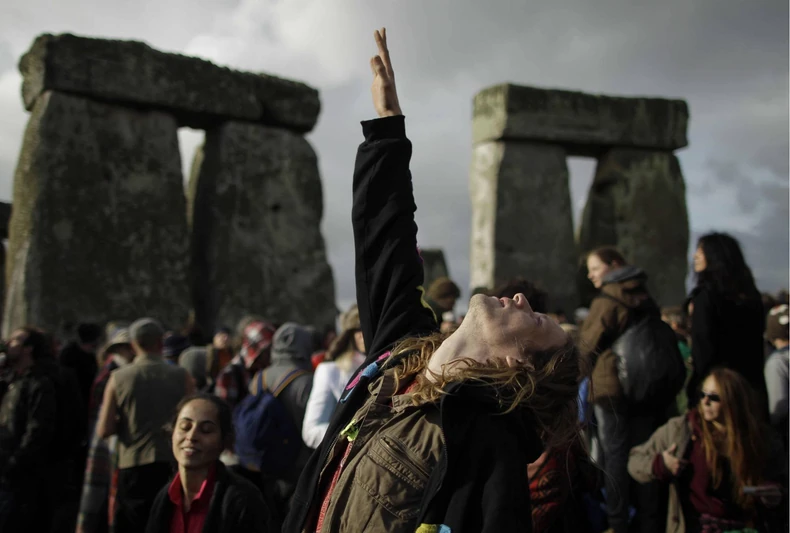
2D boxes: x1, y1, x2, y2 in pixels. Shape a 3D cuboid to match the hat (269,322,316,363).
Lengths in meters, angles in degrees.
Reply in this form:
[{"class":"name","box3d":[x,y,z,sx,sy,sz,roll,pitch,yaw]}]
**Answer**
[{"class":"hat","box3d":[-0.807,0.625,8.292,0.317,0.348,0.247,13,-17,-28]}]
